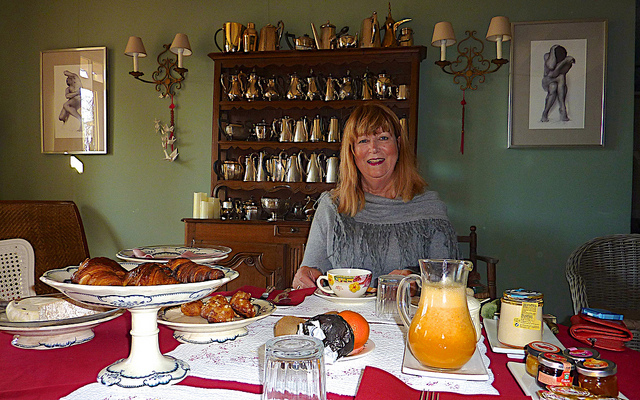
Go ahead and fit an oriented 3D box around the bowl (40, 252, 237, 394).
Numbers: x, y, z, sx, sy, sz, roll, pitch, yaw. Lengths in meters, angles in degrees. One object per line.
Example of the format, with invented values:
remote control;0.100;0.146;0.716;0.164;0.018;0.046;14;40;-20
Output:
bowl;-0.553;0.356;1.603;0.579;0.385;0.537;0;6;0

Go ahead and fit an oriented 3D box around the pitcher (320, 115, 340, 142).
pitcher;0.076;-0.559;3.664;0.182;0.201;0.103;4;7;31

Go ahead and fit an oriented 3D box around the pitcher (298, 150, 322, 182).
pitcher;-0.085;-0.260;3.702;0.252;0.308;0.174;2;7;9

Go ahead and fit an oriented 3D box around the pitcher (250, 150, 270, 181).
pitcher;-0.515;-0.275;3.790;0.102;0.227;0.196;-6;8;-44

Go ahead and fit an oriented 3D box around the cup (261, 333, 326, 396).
cup;-0.067;0.450;1.254;0.165;0.145;0.159;2;-7;0

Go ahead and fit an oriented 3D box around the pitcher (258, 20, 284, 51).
pitcher;-0.383;-1.304;3.718;0.240;0.229;0.152;7;12;36

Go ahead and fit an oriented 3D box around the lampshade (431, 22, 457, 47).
lampshade;0.934;-1.245;3.496;0.197;0.174;0.186;-3;5;-33

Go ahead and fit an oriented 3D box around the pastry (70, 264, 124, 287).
pastry;-0.668;0.221;1.367;0.102;0.034;0.077;12;-5;18

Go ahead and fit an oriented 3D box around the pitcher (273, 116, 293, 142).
pitcher;-0.307;-0.568;3.732;0.161;0.191;0.077;1;6;5

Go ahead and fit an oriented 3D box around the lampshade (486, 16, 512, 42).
lampshade;1.327;-1.277;3.435;0.181;0.131;0.175;-9;14;-22

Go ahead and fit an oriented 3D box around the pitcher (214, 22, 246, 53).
pitcher;-0.753;-1.304;3.782;0.263;0.234;0.161;2;-1;7

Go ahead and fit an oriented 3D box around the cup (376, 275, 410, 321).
cup;0.247;0.360;1.724;0.154;0.157;0.152;1;-6;0

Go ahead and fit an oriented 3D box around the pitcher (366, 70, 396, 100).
pitcher;0.480;-0.906;3.630;0.268;0.229;0.179;2;13;5

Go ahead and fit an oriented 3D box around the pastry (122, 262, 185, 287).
pastry;-0.506;0.217;1.386;0.162;0.054;0.144;-2;6;-22

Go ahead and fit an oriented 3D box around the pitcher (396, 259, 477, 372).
pitcher;0.386;0.353;1.459;0.335;0.366;0.262;-2;-7;20

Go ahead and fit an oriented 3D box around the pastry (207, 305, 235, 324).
pastry;-0.336;0.386;1.566;0.064;0.066;0.020;32;14;2

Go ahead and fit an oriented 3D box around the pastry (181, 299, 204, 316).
pastry;-0.456;0.377;1.631;0.080;0.055;0.040;0;6;-2

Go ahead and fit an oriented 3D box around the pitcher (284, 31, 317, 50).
pitcher;-0.159;-1.264;3.680;0.256;0.132;0.141;4;23;9

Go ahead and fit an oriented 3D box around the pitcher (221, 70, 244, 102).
pitcher;-0.722;-0.927;3.799;0.214;0.269;0.146;3;8;25

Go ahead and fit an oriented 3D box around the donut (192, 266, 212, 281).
donut;-0.355;0.223;1.396;0.056;0.036;0.029;-2;6;-23

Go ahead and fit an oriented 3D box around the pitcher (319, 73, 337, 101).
pitcher;0.080;-0.886;3.674;0.096;0.211;0.128;0;6;-3

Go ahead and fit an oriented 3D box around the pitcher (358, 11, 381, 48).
pitcher;0.404;-1.296;3.590;0.177;0.253;0.266;1;11;-1

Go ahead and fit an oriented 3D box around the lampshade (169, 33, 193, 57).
lampshade;-1.174;-1.243;3.815;0.204;0.139;0.191;-3;-5;31

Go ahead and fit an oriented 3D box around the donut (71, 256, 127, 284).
donut;-0.675;0.205;1.402;0.115;0.042;0.092;-1;7;1

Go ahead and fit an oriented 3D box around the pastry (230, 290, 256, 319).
pastry;-0.275;0.370;1.637;0.090;0.075;0.085;0;6;-9

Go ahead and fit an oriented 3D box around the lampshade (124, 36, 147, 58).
lampshade;-1.540;-1.256;3.907;0.191;0.139;0.197;3;1;-2

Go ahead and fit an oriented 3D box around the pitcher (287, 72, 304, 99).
pitcher;-0.204;-0.901;3.672;0.117;0.202;0.069;-1;6;-10

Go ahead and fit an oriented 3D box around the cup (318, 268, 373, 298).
cup;0.101;0.358;1.949;0.245;0.103;0.178;0;-3;3

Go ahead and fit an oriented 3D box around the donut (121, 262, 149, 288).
donut;-0.551;0.217;1.370;0.066;0.052;0.056;2;6;14
